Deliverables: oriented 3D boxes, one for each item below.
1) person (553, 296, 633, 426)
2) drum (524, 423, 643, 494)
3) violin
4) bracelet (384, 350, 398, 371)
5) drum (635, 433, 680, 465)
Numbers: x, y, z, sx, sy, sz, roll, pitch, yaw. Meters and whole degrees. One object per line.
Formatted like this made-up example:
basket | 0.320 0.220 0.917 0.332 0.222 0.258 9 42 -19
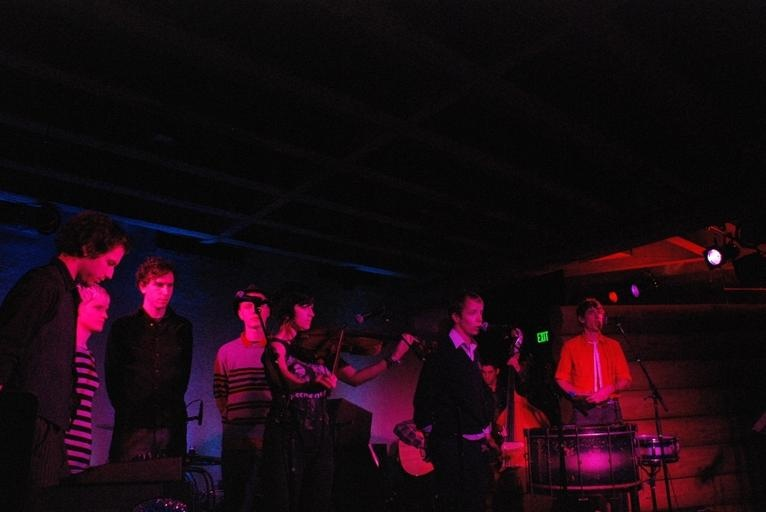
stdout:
person | 2.609 1.352 8.284 0.825 1.665 1.044 -10 -25 31
drum | 2.395 2.451 7.633 1.303 0.672 1.291 -2 -19 -1
violin | -0.178 0.799 6.090 1.165 0.169 0.396 6 -18 -20
bracelet | 0.081 1.017 6.297 0.140 0.121 0.179 1 -18 -1
drum | 3.236 2.298 7.657 0.457 0.172 0.417 0 -13 0
